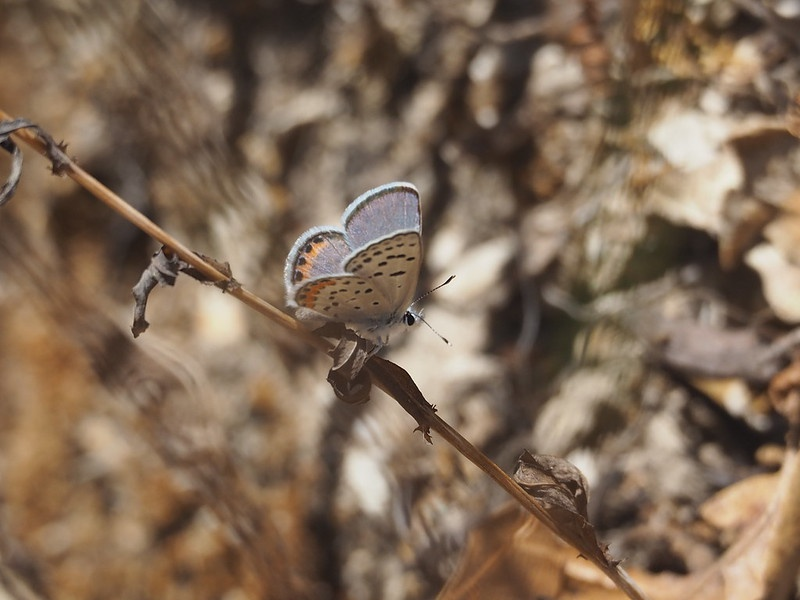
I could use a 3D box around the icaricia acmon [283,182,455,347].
[{"bbox_3d":[-0.043,-0.044,2.649,0.350,0.342,0.248,11,102,1],"label":"icaricia acmon"}]
